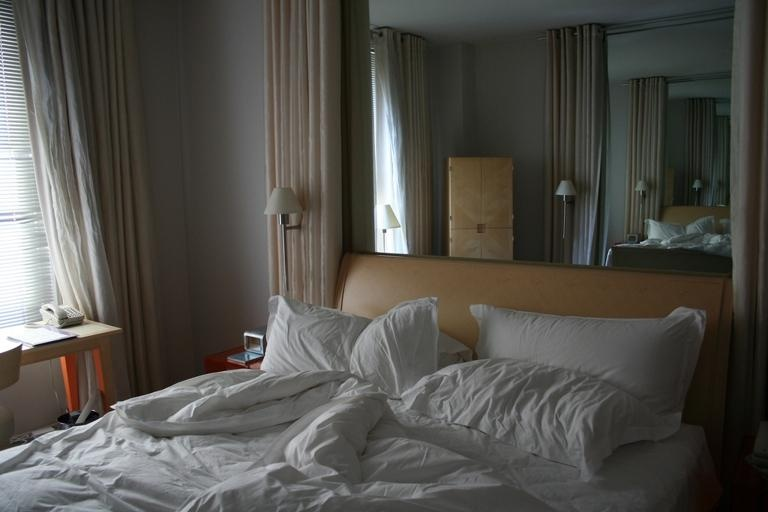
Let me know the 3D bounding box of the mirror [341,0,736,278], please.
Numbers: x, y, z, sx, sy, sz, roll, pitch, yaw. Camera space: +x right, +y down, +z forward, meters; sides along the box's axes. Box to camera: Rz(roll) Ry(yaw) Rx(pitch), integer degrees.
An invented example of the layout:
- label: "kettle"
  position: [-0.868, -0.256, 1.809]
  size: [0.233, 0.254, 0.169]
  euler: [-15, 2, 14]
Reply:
- label: "mirror"
  position: [1.043, -0.746, 3.542]
  size: [1.841, 1.356, 0.035]
  euler: [2, 6, 27]

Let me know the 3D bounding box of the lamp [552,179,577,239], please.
- label: "lamp"
  position: [1.132, -0.295, 3.525]
  size: [0.125, 0.361, 0.066]
  euler: [1, 8, 17]
